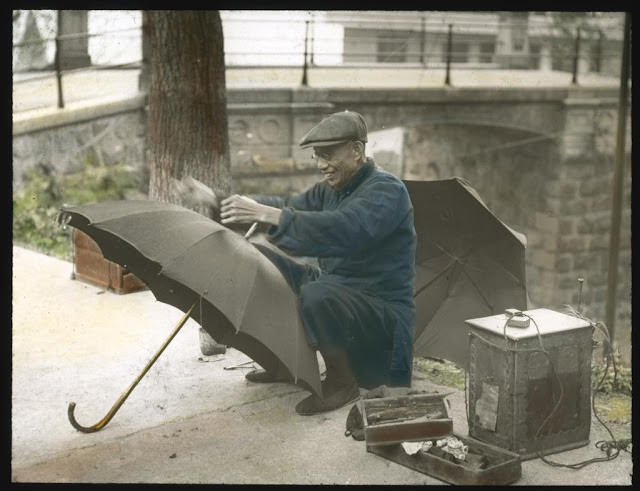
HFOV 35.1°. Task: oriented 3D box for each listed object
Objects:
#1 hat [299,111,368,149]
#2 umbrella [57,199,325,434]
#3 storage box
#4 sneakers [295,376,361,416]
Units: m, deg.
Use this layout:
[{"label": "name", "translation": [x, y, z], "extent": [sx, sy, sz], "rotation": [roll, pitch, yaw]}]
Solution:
[{"label": "hat", "translation": [0.110, -0.997, 8.711], "extent": [0.657, 0.321, 0.467], "rotation": [-7, 7, -20]}, {"label": "umbrella", "translation": [-1.033, 0.580, 8.577], "extent": [1.917, 1.577, 1.940], "rotation": [26, 1, -23]}, {"label": "storage box", "translation": [-2.274, 0.187, 10.850], "extent": [0.744, 0.589, 0.742], "rotation": [-2, 5, -25]}, {"label": "sneakers", "translation": [0.074, 1.263, 8.611], "extent": [0.603, 0.287, 0.216], "rotation": [-12, 0, -18]}]
